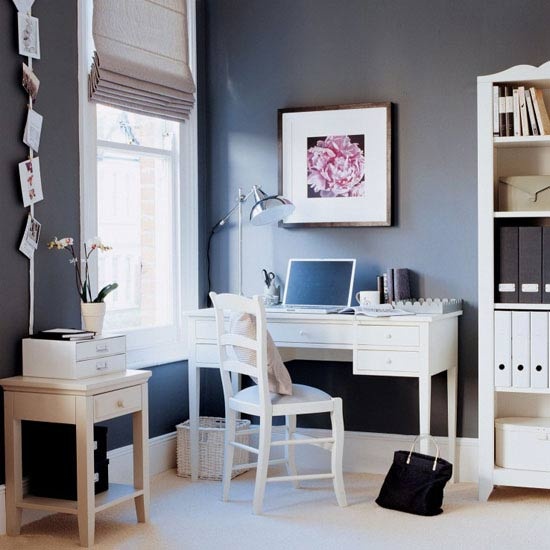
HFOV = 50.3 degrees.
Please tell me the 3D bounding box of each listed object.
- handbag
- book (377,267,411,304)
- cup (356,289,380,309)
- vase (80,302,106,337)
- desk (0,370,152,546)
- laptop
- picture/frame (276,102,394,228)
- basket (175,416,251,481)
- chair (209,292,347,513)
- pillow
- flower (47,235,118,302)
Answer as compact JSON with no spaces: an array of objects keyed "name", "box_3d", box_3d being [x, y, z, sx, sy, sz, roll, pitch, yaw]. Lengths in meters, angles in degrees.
[{"name":"handbag","box_3d":[0.610,0.908,2.534,0.212,0.240,0.107,0,-26,45]},{"name":"book","box_3d":[0.610,0.056,3.037,0.158,0.246,0.157,1,0,-43]},{"name":"cup","box_3d":[0.470,0.122,2.981,0.087,0.078,0.074,0,-2,11]},{"name":"vase","box_3d":[-0.746,0.187,2.423,0.112,0.152,0.114,0,-4,-19]},{"name":"desk","box_3d":[-0.794,0.706,2.339,0.458,0.620,0.444,-1,-1,25]},{"name":"laptop","box_3d":[0.232,0.051,3.086,0.345,0.261,0.282,-1,-3,25]},{"name":"picture/frame","box_3d":[0.352,-0.596,3.187,0.594,0.703,0.026,0,-1,14]},{"name":"basket","box_3d":[-0.322,0.889,3.095,0.327,0.289,0.336,1,0,-31]},{"name":"chair","box_3d":[0.021,0.560,2.655,0.509,0.970,0.437,0,-3,-43]},{"name":"pillow","box_3d":[-0.058,0.344,2.533,0.270,0.362,0.173,0,-1,-6]},{"name":"flower","box_3d":[-0.805,-0.037,2.574,0.259,0.358,0.289,-5,-2,23]}]
